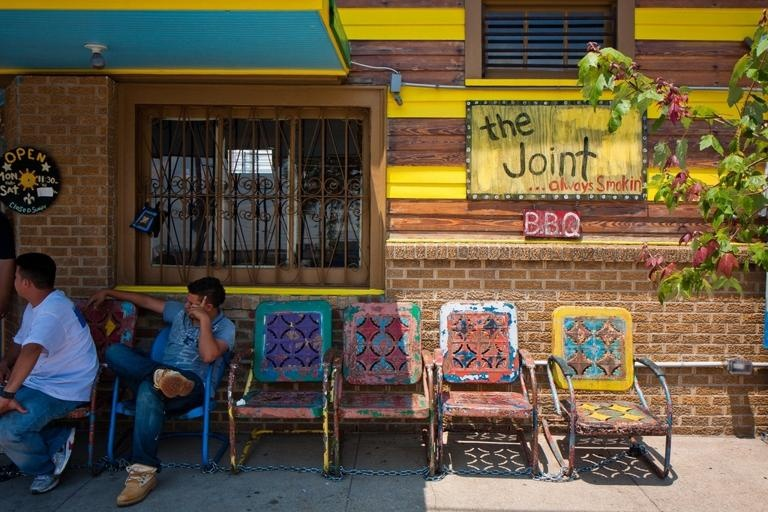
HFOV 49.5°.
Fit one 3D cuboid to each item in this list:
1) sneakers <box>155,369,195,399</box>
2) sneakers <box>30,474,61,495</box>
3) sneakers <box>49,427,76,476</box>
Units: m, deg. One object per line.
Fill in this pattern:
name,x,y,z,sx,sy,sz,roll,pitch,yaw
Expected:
sneakers,-2.055,1.232,8.081,0.342,0.254,0.151,1,-27,-42
sneakers,-3.251,2.182,8.004,0.130,0.111,0.266,4,8,29
sneakers,-3.116,1.920,8.161,0.161,0.434,0.201,-9,-16,37
